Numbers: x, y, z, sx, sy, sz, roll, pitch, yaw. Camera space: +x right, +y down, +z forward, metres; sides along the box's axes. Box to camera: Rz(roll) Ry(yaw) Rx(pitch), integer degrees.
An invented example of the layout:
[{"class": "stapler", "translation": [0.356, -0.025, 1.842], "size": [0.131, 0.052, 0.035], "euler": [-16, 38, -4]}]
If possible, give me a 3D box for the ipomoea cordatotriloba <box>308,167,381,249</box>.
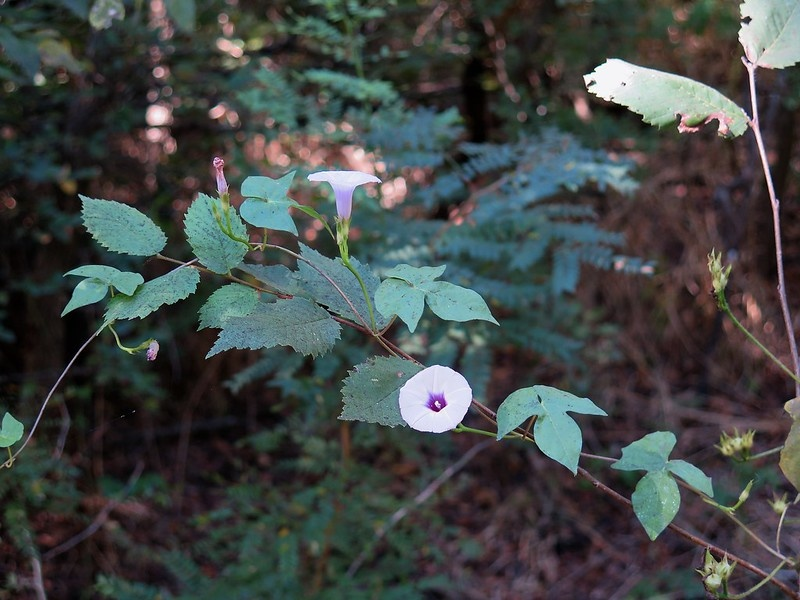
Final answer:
[{"class": "ipomoea cordatotriloba", "translation": [-0.227, -0.367, 2.846], "size": [0.285, 0.253, 0.289], "euler": [3, -4, -33]}]
